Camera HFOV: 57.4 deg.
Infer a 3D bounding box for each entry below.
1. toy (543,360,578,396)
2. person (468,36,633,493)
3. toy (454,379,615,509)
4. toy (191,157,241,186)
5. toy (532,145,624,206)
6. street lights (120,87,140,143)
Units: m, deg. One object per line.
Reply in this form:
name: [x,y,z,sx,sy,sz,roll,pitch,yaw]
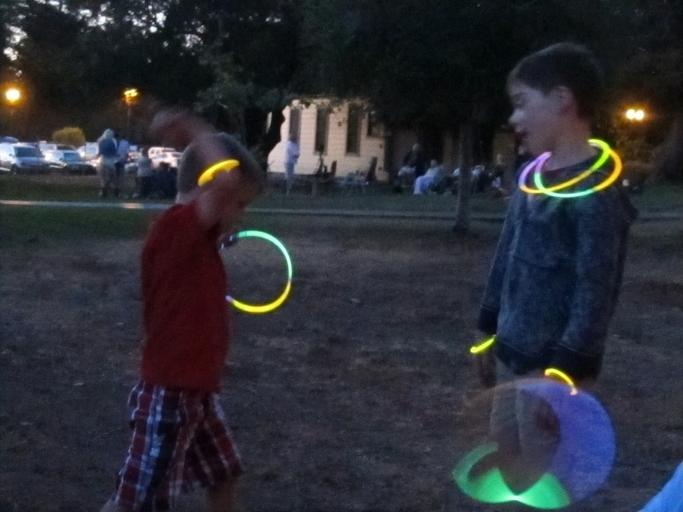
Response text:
toy: [0.806,0.457,2.280,0.117,0.135,0.162,7,11,22]
person: [0.867,0.033,2.480,0.401,1.738,0.690,1,10,-10]
toy: [0.999,0.998,3.191,0.891,0.994,0.230,-16,34,11]
toy: [-0.522,-0.349,2.604,0.171,0.119,0.060,7,10,18]
toy: [0.933,-0.358,2.487,0.337,0.243,0.452,8,11,22]
street lights: [-1.555,-1.023,4.429,0.105,0.362,0.115,21,16,22]
